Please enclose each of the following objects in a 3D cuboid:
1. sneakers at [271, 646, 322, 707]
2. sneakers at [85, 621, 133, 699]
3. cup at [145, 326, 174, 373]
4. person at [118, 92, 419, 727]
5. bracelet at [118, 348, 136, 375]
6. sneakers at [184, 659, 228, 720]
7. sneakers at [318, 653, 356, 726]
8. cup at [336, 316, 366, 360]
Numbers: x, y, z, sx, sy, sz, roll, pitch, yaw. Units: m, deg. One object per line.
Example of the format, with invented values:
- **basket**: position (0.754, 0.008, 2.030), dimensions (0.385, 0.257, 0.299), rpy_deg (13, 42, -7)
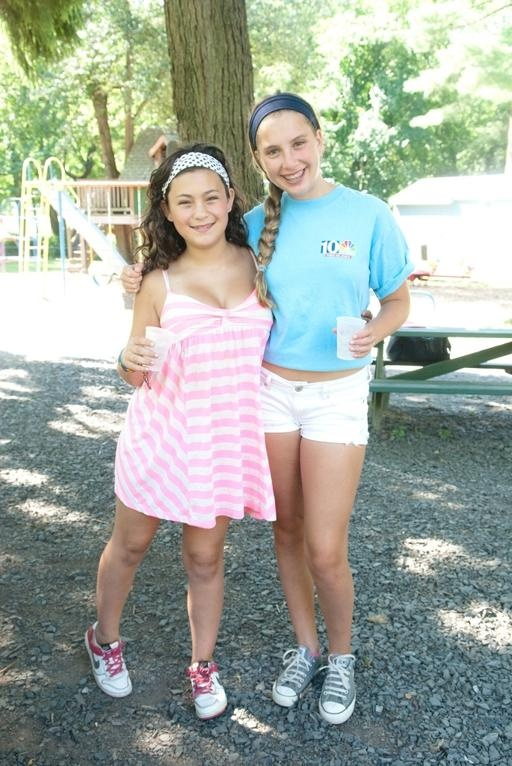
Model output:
- **sneakers**: position (0.143, 0.980, 2.308), dimensions (0.091, 0.104, 0.267), rpy_deg (18, 15, 18)
- **sneakers**: position (-0.508, 0.926, 2.327), dimensions (0.111, 0.279, 0.126), rpy_deg (-12, -28, -33)
- **cup**: position (-0.280, -0.098, 1.932), dimensions (0.076, 0.145, 0.112), rpy_deg (-2, 13, -10)
- **person**: position (0.199, 0.105, 2.115), dimensions (0.515, 1.940, 0.423), rpy_deg (3, 13, 12)
- **bracelet**: position (-0.399, -0.067, 2.044), dimensions (0.059, 0.064, 0.060), rpy_deg (4, -27, -8)
- **sneakers**: position (-0.159, 0.991, 2.150), dimensions (0.082, 0.095, 0.217), rpy_deg (-9, -5, -9)
- **sneakers**: position (0.252, 0.979, 2.142), dimensions (0.089, 0.091, 0.238), rpy_deg (1, 22, 9)
- **cup**: position (0.273, -0.136, 1.947), dimensions (0.080, 0.123, 0.085), rpy_deg (0, 13, 0)
